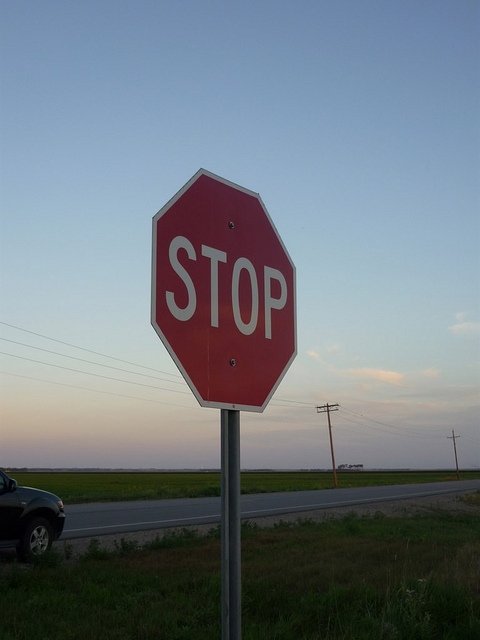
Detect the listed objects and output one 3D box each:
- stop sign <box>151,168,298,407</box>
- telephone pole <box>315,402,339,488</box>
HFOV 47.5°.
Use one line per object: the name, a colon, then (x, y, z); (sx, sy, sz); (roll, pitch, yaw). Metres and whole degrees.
stop sign: (-0.080, -0.102, 2.160); (0.053, 1.032, 0.713); (-16, -19, 38)
telephone pole: (2.821, 4.059, 16.672); (0.810, 0.131, 3.902); (-3, -56, 13)
